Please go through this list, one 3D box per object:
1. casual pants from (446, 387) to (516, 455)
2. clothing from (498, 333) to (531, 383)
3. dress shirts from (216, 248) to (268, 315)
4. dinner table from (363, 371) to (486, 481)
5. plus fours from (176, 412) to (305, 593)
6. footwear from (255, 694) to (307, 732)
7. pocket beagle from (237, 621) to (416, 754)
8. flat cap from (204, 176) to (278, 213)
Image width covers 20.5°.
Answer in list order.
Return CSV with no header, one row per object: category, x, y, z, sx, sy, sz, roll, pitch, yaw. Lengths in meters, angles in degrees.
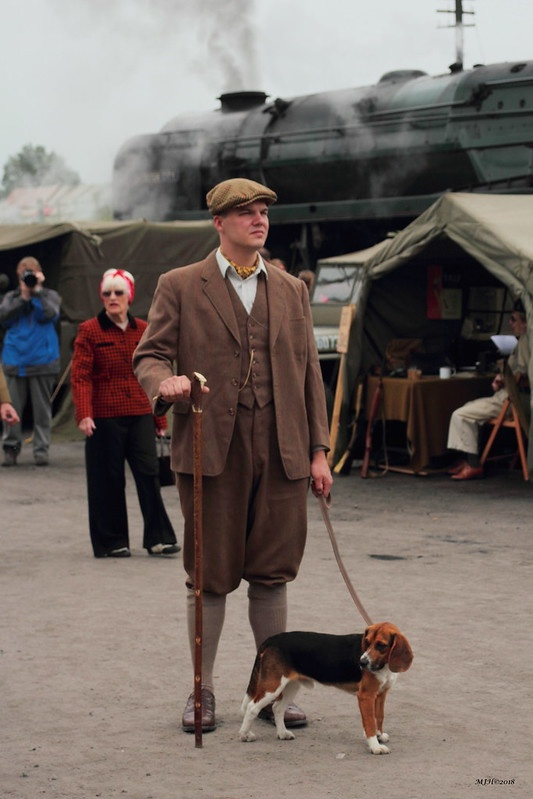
casual pants,1.406,0.161,9.914,0.394,0.567,0.349,2,-28,17
clothing,1.571,-0.277,9.333,0.150,0.192,0.252,1,18,20
dress shirts,-0.074,-0.369,4.665,0.127,0.222,0.054,-18,1,-23
dinner table,1.270,0.071,10.537,0.859,0.447,0.723,-6,5,-10
plus fours,-0.085,0.254,4.612,0.396,0.829,0.265,-4,23,-11
footwear,0.049,1.001,4.671,0.071,0.083,0.179,2,-8,-34
pocket beagle,0.189,0.857,4.436,0.540,0.385,0.172,0,-1,24
flat cap,-0.081,-0.645,4.639,0.212,0.119,0.214,-2,4,2
